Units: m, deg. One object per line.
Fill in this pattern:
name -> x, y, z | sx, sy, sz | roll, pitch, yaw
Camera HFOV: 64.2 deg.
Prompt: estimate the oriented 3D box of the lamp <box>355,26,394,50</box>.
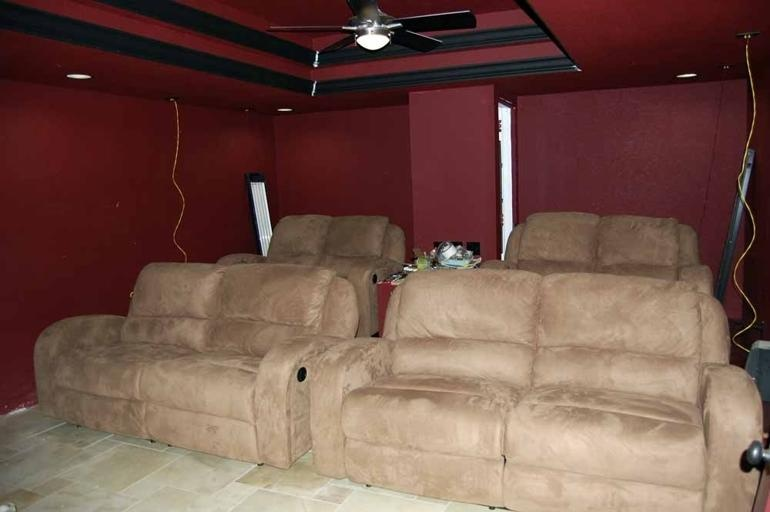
lamp -> -0.090, -1.737, 4.853 | 0.296, 0.137, 0.294 | 0, 4, -2
